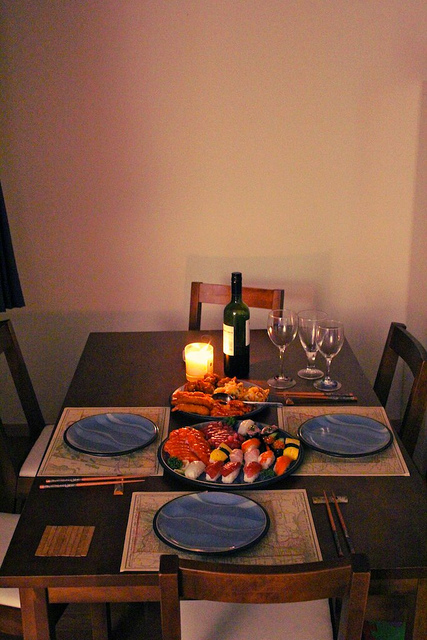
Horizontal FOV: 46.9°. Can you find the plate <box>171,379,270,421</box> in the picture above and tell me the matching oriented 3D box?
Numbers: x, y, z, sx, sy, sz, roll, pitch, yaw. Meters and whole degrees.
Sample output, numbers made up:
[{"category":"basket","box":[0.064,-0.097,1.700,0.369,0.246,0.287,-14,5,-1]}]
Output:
[{"category":"plate","box":[0.009,0.203,1.154,0.169,0.066,0.175,16,22,38]}]

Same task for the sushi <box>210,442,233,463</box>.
[{"category":"sushi","box":[0.013,0.237,0.876,0.027,0.025,0.040,12,45,41]}]

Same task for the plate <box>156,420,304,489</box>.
[{"category":"plate","box":[0.018,0.210,0.937,0.280,0.063,0.220,-3,20,-10]}]

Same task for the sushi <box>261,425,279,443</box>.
[{"category":"sushi","box":[0.108,0.215,0.930,0.024,0.025,0.023,-2,12,-1]}]

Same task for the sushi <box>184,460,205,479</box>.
[{"category":"sushi","box":[-0.034,0.252,0.832,0.017,0.012,0.036,5,8,1]}]

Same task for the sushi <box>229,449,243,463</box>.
[{"category":"sushi","box":[0.039,0.241,0.874,0.019,0.017,0.016,1,-7,-38]}]

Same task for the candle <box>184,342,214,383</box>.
[{"category":"candle","box":[-0.027,0.115,1.308,0.083,0.097,0.085,0,21,1]}]

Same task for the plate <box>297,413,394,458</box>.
[{"category":"plate","box":[0.260,0.230,0.985,0.167,0.055,0.148,6,18,10]}]

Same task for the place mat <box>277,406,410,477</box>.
[{"category":"place mat","box":[0.249,0.214,0.987,0.229,0.073,0.231,4,18,10]}]

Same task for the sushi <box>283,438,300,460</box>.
[{"category":"sushi","box":[0.144,0.236,0.898,0.020,0.011,0.034,6,21,5]}]

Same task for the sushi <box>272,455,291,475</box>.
[{"category":"sushi","box":[0.116,0.248,0.845,0.016,0.019,0.033,0,19,19]}]

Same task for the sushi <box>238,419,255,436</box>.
[{"category":"sushi","box":[0.065,0.211,0.980,0.025,0.022,0.025,-19,40,1]}]

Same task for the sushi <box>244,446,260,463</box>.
[{"category":"sushi","box":[0.066,0.238,0.867,0.022,0.016,0.019,2,-9,-37]}]

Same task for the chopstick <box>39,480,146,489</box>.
[{"category":"chopstick","box":[-0.208,0.279,0.843,0.175,0.005,0.012,-2,14,-6]}]

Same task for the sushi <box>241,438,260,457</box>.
[{"category":"sushi","box":[0.066,0.231,0.900,0.027,0.013,0.020,-35,27,-27]}]
